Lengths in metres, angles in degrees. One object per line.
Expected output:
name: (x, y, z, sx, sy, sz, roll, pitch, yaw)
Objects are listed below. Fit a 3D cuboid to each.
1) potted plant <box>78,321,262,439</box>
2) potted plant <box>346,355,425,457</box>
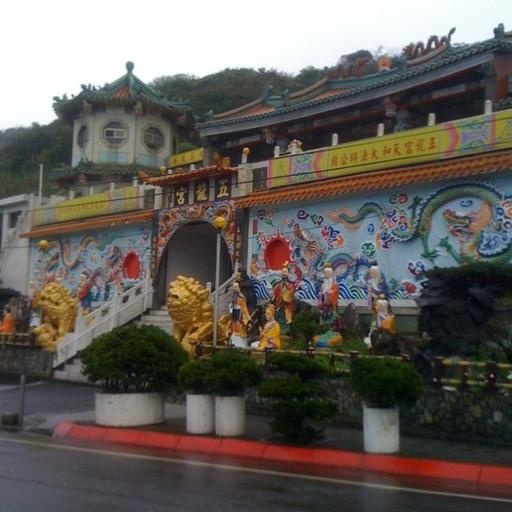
potted plant: (-1.565, 2.236, 12.401, 2.679, 1.341, 1.964, -2, -7, 26)
potted plant: (1.997, 2.435, 10.841, 1.503, 1.683, 1.235, 3, -10, -11)
